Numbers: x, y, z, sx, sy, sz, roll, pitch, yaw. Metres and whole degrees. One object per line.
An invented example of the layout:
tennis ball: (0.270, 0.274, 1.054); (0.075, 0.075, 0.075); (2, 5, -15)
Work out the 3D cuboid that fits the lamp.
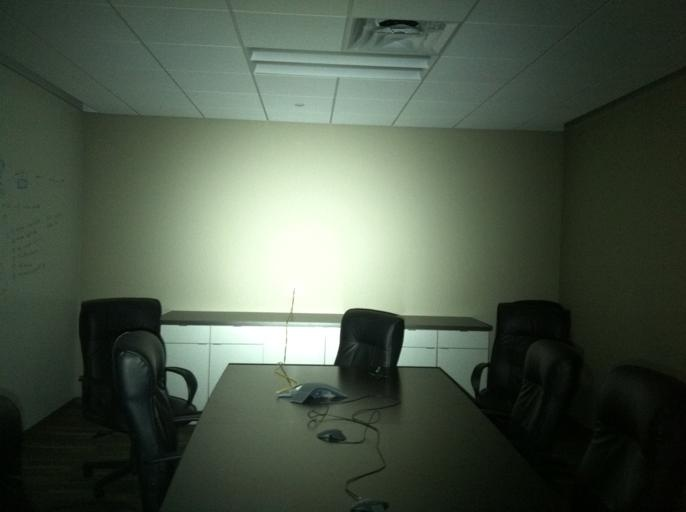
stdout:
lamp: (-0.029, -1.621, 5.025); (1.515, 0.138, 0.288); (3, 2, -1)
